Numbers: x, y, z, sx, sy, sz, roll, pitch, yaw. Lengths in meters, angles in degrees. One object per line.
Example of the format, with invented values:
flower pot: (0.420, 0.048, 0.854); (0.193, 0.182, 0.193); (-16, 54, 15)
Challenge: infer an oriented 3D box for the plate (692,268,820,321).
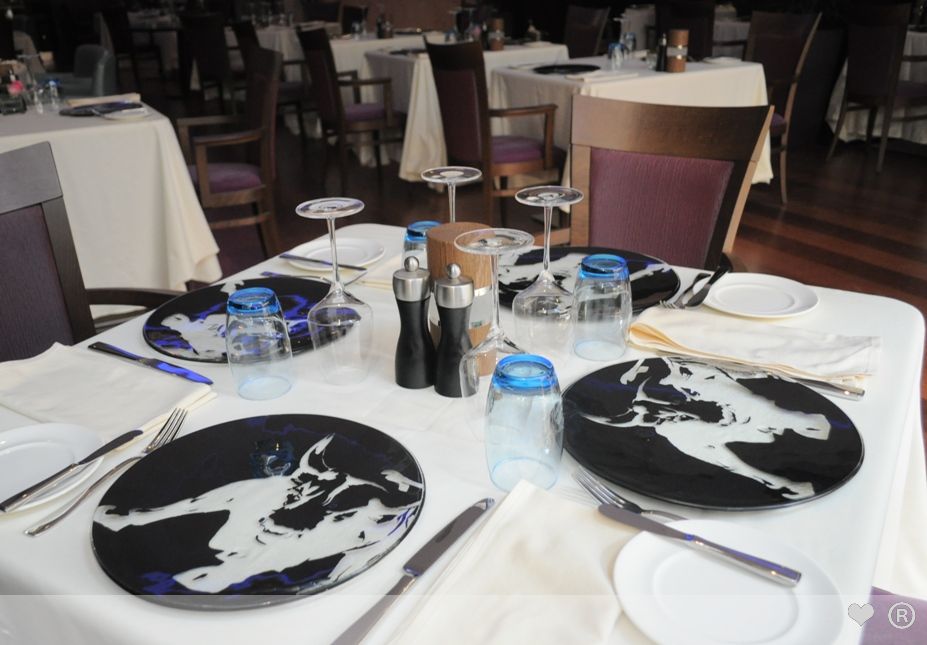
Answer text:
plate: (0.549, -0.042, 1.251); (0.127, 0.019, 0.126); (9, 31, 22)

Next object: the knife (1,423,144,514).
knife: (-0.512, 0.196, 0.894); (0.026, 0.018, 0.233); (31, 34, 31)

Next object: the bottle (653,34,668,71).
bottle: (1.007, -1.358, 3.482); (0.053, 0.162, 0.198); (6, 26, 14)

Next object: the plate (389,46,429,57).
plate: (-0.382, -1.852, 4.727); (0.271, 0.050, 0.285); (15, 25, 33)

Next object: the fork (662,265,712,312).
fork: (0.430, -0.071, 1.283); (0.051, 0.023, 0.171); (22, 33, 20)

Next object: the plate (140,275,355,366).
plate: (-0.422, 0.004, 1.224); (0.200, 0.030, 0.203); (9, 25, 13)

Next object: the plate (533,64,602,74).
plate: (0.507, -1.272, 3.488); (0.349, 0.034, 0.290); (7, 26, 17)

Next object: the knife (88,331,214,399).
knife: (-0.500, 0.074, 1.103); (0.280, 0.012, 0.039); (14, 35, 29)

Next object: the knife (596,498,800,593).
knife: (0.267, 0.255, 0.770); (0.171, 0.021, 0.024); (18, 44, 23)
